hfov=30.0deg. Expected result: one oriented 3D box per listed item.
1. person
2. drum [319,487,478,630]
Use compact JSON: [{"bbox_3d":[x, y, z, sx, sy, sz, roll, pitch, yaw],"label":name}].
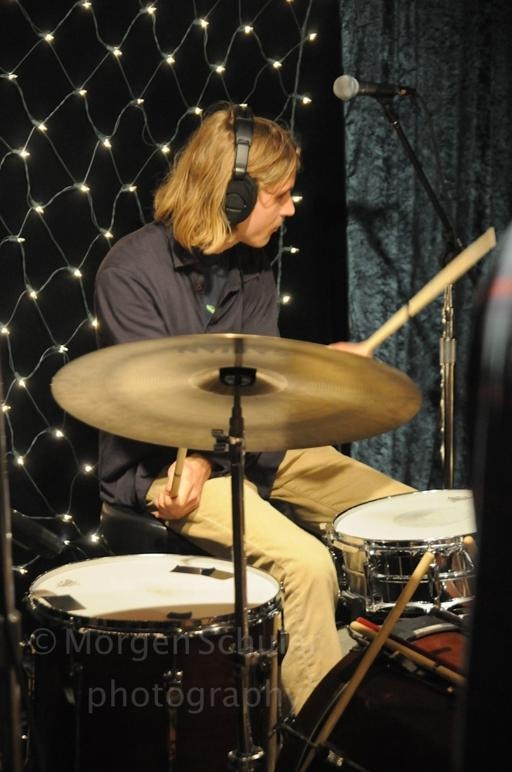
[{"bbox_3d":[0.067,-0.007,1.687,0.675,0.987,0.584,-1,11,-25],"label":"person"},{"bbox_3d":[0.214,0.254,1.449,0.210,0.183,0.366,5,9,9],"label":"drum"}]
